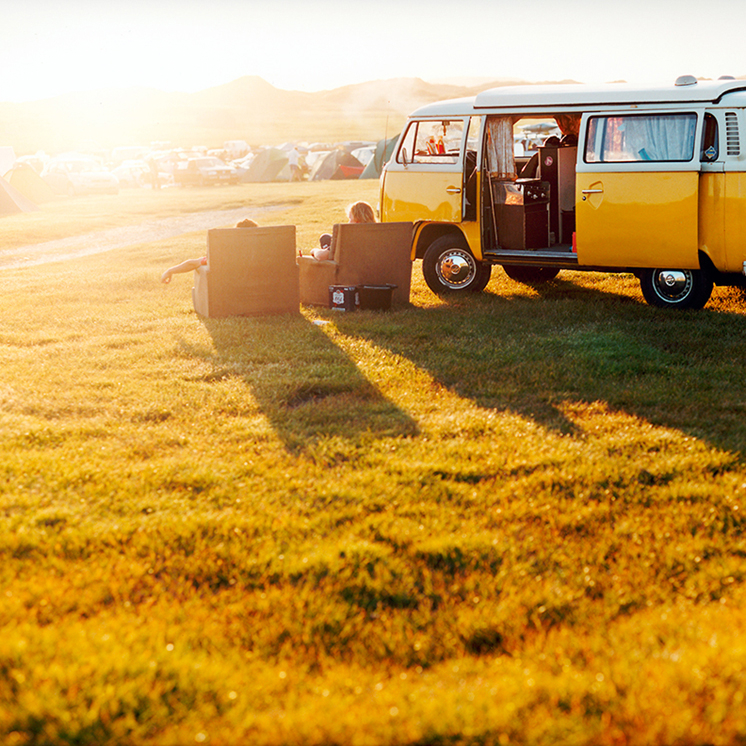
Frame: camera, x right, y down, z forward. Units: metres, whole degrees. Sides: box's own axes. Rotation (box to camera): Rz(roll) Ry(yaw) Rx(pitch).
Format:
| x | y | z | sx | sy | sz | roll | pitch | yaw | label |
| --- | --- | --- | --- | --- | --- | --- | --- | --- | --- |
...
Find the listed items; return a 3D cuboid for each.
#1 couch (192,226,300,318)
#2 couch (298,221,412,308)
| x | y | z | sx | sy | sz | roll | pitch | yaw | label |
| --- | --- | --- | --- | --- | --- | --- | --- | --- | --- |
| -1.902 | -1.510 | 10.266 | 1.372 | 1.304 | 1.374 | -3 | 11 | -15 | couch |
| 0.251 | -1.695 | 11.083 | 1.298 | 1.110 | 1.295 | 4 | -1 | 28 | couch |
